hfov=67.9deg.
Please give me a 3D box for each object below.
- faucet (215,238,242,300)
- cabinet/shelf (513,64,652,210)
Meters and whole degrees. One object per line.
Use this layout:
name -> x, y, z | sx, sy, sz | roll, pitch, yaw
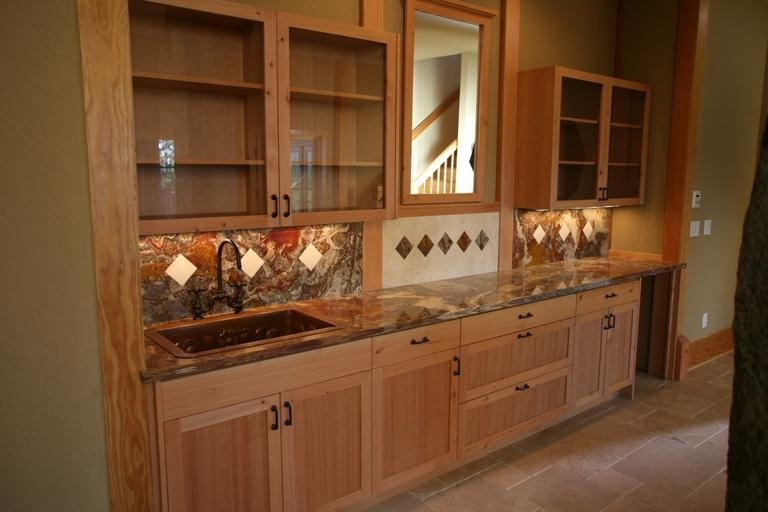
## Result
faucet -> -0.891, 0.064, 3.261 | 0.143, 0.342, 0.323 | -4, 14, -17
cabinet/shelf -> 1.561, -0.946, 4.570 | 1.195, 1.005, 0.415 | -7, 9, -38
